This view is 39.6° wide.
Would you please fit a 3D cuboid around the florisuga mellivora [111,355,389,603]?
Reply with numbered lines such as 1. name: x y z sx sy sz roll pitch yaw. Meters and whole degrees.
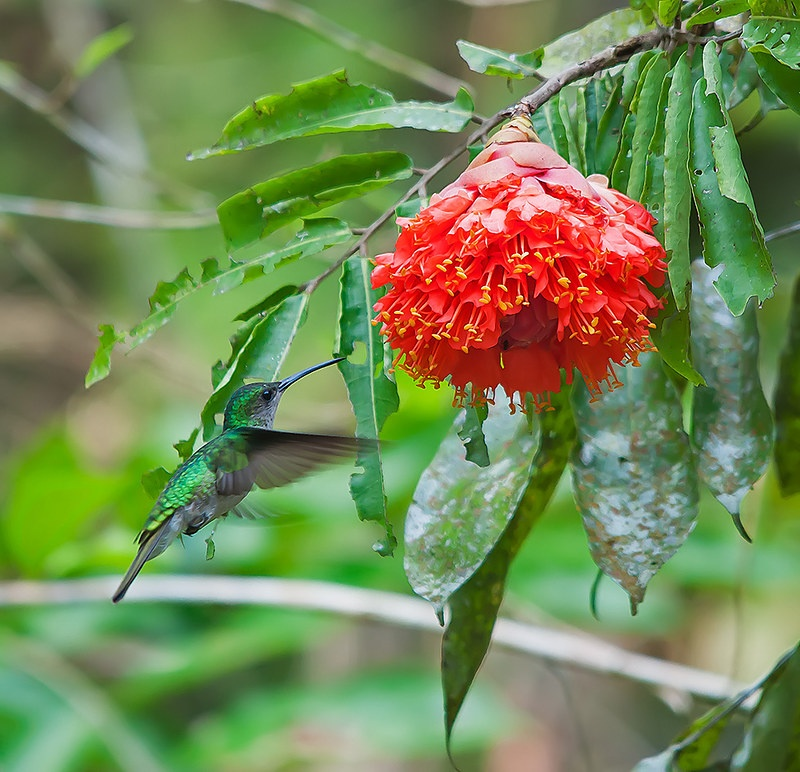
1. florisuga mellivora: -0.237 0.122 1.860 0.461 0.474 0.243 -18 -88 39

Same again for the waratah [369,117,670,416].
1. waratah: 0.175 -0.163 1.602 0.407 0.326 0.337 -13 -47 14
